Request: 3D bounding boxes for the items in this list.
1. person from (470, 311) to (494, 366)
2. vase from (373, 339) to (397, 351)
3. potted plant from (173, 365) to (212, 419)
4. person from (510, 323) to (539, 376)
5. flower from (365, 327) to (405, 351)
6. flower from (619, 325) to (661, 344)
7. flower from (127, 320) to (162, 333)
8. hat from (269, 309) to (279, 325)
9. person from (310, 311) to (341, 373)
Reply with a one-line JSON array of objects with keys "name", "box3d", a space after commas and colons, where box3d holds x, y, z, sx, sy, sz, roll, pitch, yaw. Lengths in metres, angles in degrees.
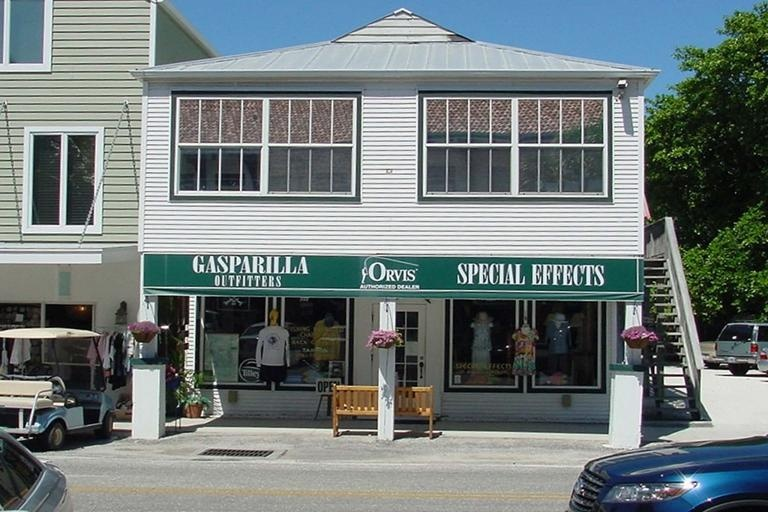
[{"name": "person", "box3d": [2.667, 2.287, 29.704, 0.578, 1.539, 0.270, 2, 7, 5]}, {"name": "vase", "box3d": [0.009, 2.237, 27.432, 0.549, 0.311, 0.368, 2, 7, 6]}, {"name": "potted plant", "box3d": [-5.317, 3.748, 29.549, 0.968, 1.281, 0.673, 0, 8, -10]}, {"name": "person", "box3d": [3.830, 2.500, 29.469, 0.678, 1.430, 0.429, 2, 8, 6]}, {"name": "flower", "box3d": [-0.019, 2.111, 27.640, 0.752, 0.390, 0.725, 0, -3, -5]}, {"name": "flower", "box3d": [6.272, 1.960, 27.098, 0.576, 0.316, 0.622, 0, -2, -3]}, {"name": "flower", "box3d": [-6.121, 1.780, 27.280, 0.434, 0.228, 0.436, -1, -4, 31]}, {"name": "hat", "box3d": [-3.077, 1.688, 29.736, 0.351, 0.337, 0.129, 16, 8, 15]}, {"name": "person", "box3d": [-1.641, 2.394, 29.879, 0.727, 1.644, 0.320, 0, 8, -7]}]
